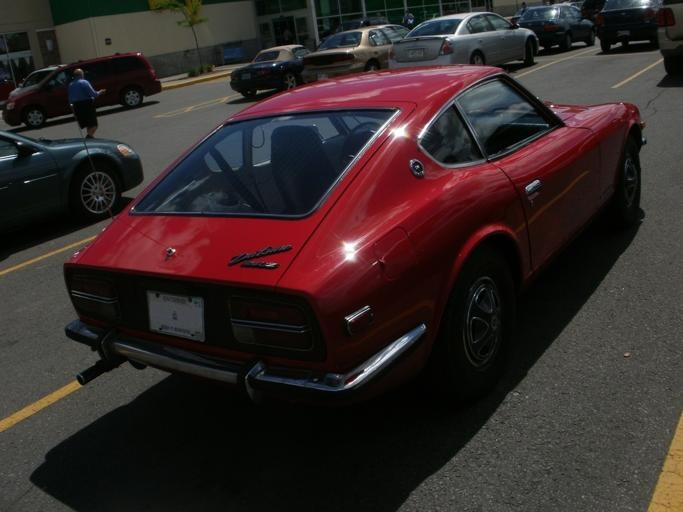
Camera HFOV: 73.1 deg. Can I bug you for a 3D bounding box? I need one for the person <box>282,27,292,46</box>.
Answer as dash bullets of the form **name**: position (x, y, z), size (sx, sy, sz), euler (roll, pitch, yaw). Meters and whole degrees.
- **person**: position (-4.594, -18.112, 37.694), size (0.554, 1.191, 0.751), euler (3, 23, 25)
